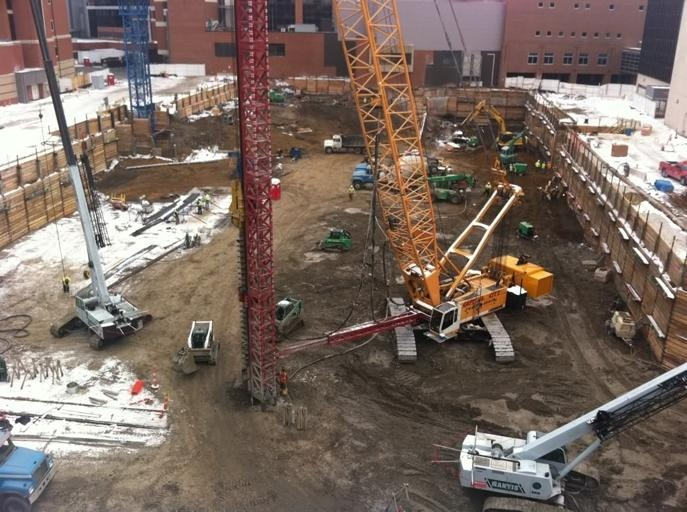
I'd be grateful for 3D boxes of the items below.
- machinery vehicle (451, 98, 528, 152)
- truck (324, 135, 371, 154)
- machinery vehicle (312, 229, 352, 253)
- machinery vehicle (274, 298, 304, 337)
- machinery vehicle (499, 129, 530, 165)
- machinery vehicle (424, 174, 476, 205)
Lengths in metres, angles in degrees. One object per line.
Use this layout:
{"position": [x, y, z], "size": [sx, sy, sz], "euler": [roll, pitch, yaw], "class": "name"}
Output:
{"position": [21.996, -18.602, 81.523], "size": [11.443, 5.816, 3.679], "euler": [7, 7, -28], "class": "machinery vehicle"}
{"position": [0.468, -14.709, 75.378], "size": [6.097, 2.331, 2.164], "euler": [2, 16, 0], "class": "truck"}
{"position": [-0.703, -1.328, 49.791], "size": [2.721, 1.465, 1.764], "euler": [2, 14, 2], "class": "machinery vehicle"}
{"position": [-3.890, 3.709, 38.453], "size": [1.440, 1.204, 2.567], "euler": [19, 36, 29], "class": "machinery vehicle"}
{"position": [21.096, -13.567, 70.567], "size": [5.780, 3.160, 1.451], "euler": [-26, 33, -35], "class": "machinery vehicle"}
{"position": [11.483, -7.061, 61.062], "size": [4.765, 2.495, 2.873], "euler": [2, 23, 8], "class": "machinery vehicle"}
